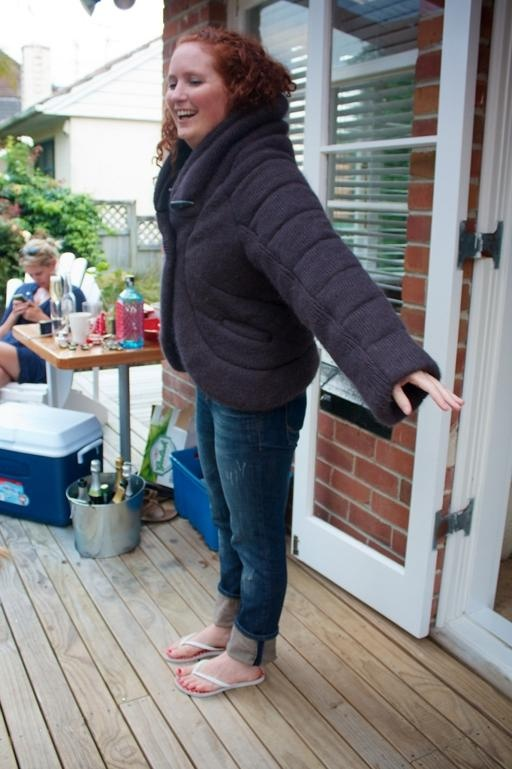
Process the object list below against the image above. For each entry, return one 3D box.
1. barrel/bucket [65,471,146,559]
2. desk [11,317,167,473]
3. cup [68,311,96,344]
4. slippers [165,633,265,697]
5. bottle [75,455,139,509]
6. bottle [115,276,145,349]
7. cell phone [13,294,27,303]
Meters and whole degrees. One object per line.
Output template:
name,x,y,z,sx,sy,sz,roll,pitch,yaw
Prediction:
barrel/bucket,-0.550,0.502,2.278,0.260,0.224,0.307,3,11,9
desk,-0.642,0.117,2.576,0.641,0.660,0.692,-2,19,-12
cup,-0.701,-0.225,2.360,0.087,0.123,0.130,-6,23,-24
slippers,-0.094,0.706,1.544,0.158,0.050,0.155,4,9,-19
bottle,-0.566,0.358,2.245,0.188,0.200,0.180,-8,15,-33
bottle,-0.478,-0.275,2.273,0.114,0.275,0.266,-2,11,-12
cell phone,-1.249,-0.459,3.184,0.078,0.019,0.077,3,-13,3
